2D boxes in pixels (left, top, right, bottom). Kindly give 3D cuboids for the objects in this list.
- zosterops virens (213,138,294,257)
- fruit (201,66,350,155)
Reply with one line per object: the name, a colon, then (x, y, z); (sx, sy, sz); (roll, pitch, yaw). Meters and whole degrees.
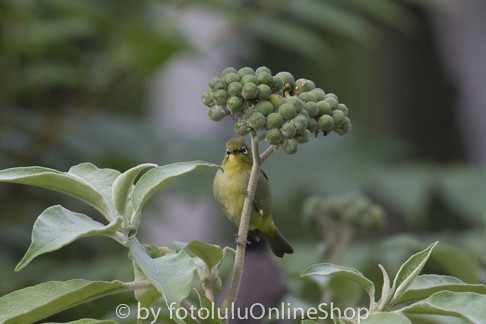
zosterops virens: (0.007, 0.115, 1.999); (0.172, 0.228, 0.544); (-14, 64, -3)
fruit: (0.082, -0.122, 1.464); (0.309, 0.237, 0.101); (27, 58, -6)
